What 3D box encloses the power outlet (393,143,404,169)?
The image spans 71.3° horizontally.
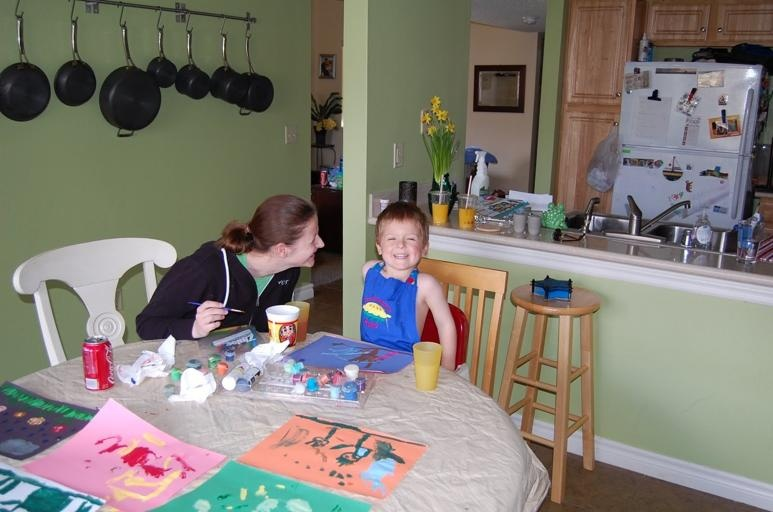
[{"bbox_3d":[0.070,-0.625,3.333,0.016,0.147,0.150,7,13,28],"label":"power outlet"}]

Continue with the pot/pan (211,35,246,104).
[{"bbox_3d":[-1.113,-1.190,3.727,0.124,0.283,0.208,9,19,31],"label":"pot/pan"}]

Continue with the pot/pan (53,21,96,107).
[{"bbox_3d":[-1.718,-1.020,2.956,0.071,0.435,0.254,6,12,44],"label":"pot/pan"}]

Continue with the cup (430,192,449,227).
[{"bbox_3d":[0.319,-0.270,3.176,0.185,0.217,0.173,1,9,0],"label":"cup"}]

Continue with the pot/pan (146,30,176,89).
[{"bbox_3d":[-1.385,-1.193,3.340,0.165,0.364,0.136,-12,25,-32],"label":"pot/pan"}]

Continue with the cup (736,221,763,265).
[{"bbox_3d":[1.812,-0.063,2.665,0.153,0.194,0.072,3,-1,1],"label":"cup"}]

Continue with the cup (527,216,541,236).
[{"bbox_3d":[0.831,-0.170,3.021,0.106,0.113,0.071,0,11,2],"label":"cup"}]

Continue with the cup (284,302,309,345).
[{"bbox_3d":[-0.308,0.253,2.039,0.134,0.145,0.126,0,12,0],"label":"cup"}]

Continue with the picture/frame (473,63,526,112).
[{"bbox_3d":[1.659,-2.433,7.741,0.737,0.612,0.056,7,15,26],"label":"picture/frame"}]

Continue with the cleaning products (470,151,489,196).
[{"bbox_3d":[0.626,-0.544,3.593,0.101,0.292,0.362,2,16,10],"label":"cleaning products"}]

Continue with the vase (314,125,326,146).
[{"bbox_3d":[-0.801,-1.441,6.502,0.196,0.259,0.177,-4,27,-13],"label":"vase"}]

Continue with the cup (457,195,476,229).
[{"bbox_3d":[0.476,-0.266,3.151,0.095,0.192,0.198,1,16,8],"label":"cup"}]

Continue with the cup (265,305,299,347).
[{"bbox_3d":[-0.359,0.240,1.938,0.137,0.140,0.136,0,14,0],"label":"cup"}]

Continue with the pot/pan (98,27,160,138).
[{"bbox_3d":[-1.509,-0.990,3.143,0.348,0.573,0.087,-10,14,-40],"label":"pot/pan"}]

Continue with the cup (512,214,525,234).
[{"bbox_3d":[0.773,-0.185,3.072,0.092,0.114,0.091,-1,16,0],"label":"cup"}]

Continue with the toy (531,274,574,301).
[{"bbox_3d":[0.803,0.151,2.612,0.175,0.091,0.146,-1,16,-1],"label":"toy"}]
